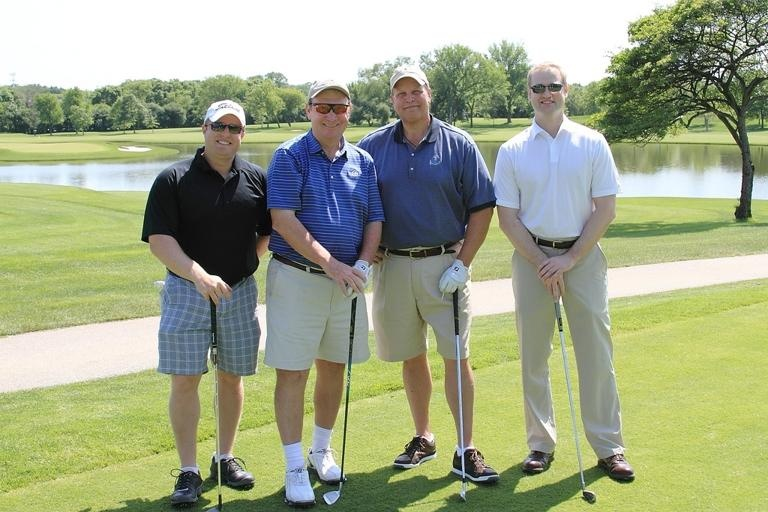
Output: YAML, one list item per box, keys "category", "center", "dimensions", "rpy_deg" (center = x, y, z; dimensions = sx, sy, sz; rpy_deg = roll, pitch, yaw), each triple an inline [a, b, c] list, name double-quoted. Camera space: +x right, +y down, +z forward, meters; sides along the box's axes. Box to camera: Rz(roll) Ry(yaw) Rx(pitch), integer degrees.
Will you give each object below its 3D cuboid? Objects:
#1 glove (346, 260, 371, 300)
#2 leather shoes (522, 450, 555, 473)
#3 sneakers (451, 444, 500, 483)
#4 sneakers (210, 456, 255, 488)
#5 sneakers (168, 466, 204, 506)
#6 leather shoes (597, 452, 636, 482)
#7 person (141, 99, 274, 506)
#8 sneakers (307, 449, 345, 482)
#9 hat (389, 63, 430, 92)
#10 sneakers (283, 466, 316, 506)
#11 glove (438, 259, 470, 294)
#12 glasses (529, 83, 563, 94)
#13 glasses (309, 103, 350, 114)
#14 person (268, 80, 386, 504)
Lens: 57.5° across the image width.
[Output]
- category: "glove"
  center: [-0.215, 0.174, 5.919]
  dimensions: [0.138, 0.357, 0.151]
  rpy_deg: [20, 15, 32]
- category: "leather shoes"
  center: [1.276, 1.715, 5.865]
  dimensions: [0.241, 0.137, 0.169]
  rpy_deg: [-2, 8, 2]
- category: "sneakers"
  center: [0.766, 1.729, 5.838]
  dimensions: [0.183, 0.219, 0.527]
  rpy_deg: [3, -4, -31]
- category: "sneakers"
  center: [-1.262, 1.777, 5.852]
  dimensions: [0.520, 0.203, 0.183]
  rpy_deg: [0, 1, 41]
- category: "sneakers"
  center: [-1.580, 1.840, 5.595]
  dimensions: [0.238, 0.208, 0.246]
  rpy_deg: [-3, 8, -10]
- category: "leather shoes"
  center: [1.907, 1.722, 5.758]
  dimensions: [0.197, 0.162, 0.294]
  rpy_deg: [-3, 8, -12]
- category: "person"
  center: [-1.417, 0.286, 5.874]
  dimensions: [1.101, 3.208, 0.918]
  rpy_deg: [-7, 9, -29]
- category: "sneakers"
  center: [-0.502, 1.761, 6.016]
  dimensions: [0.187, 0.200, 0.495]
  rpy_deg: [-5, 9, -30]
- category: "hat"
  center: [0.217, -1.581, 6.106]
  dimensions: [0.324, 0.241, 0.578]
  rpy_deg: [-1, 7, 6]
- category: "sneakers"
  center: [-0.677, 1.824, 5.577]
  dimensions: [0.233, 0.243, 0.234]
  rpy_deg: [-3, 8, -10]
- category: "glove"
  center: [0.599, 0.178, 6.198]
  dimensions: [0.244, 0.292, 0.125]
  rpy_deg: [34, 5, -17]
- category: "glasses"
  center: [1.400, -1.437, 6.035]
  dimensions: [0.265, 0.084, 0.053]
  rpy_deg: [-1, 8, 9]
- category: "glasses"
  center: [-0.445, -1.243, 5.929]
  dimensions: [0.304, 0.095, 0.061]
  rpy_deg: [-2, 8, -5]
- category: "person"
  center: [-0.496, 0.200, 5.930]
  dimensions: [1.104, 3.342, 0.922]
  rpy_deg: [-5, 9, -22]
